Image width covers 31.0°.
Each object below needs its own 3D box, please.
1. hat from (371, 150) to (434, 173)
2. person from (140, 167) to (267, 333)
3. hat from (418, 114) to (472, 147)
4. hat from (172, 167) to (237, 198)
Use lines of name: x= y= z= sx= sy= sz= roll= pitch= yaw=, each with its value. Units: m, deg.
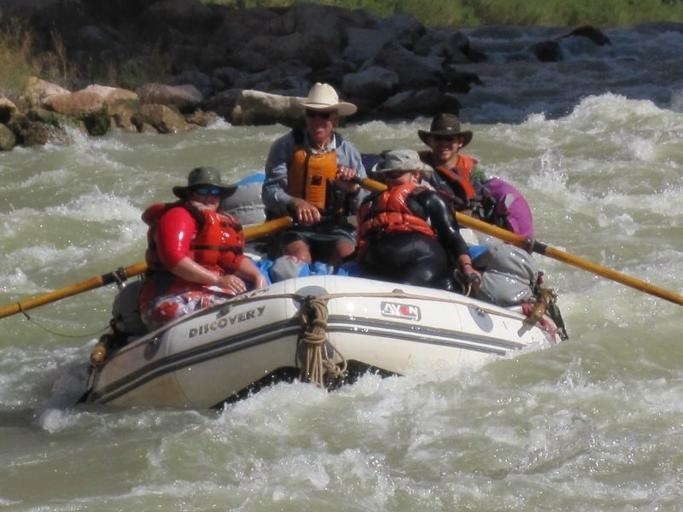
hat: x=0.735 y=-1.064 z=14.288 sx=0.460 sy=0.134 sz=0.393 roll=-1 pitch=2 yaw=-37
person: x=-1.624 y=0.256 z=14.058 sx=1.600 sy=2.309 sz=1.146 roll=2 pitch=0 yaw=18
hat: x=1.255 y=-1.558 z=15.208 sx=0.698 sy=0.261 sz=0.730 roll=-3 pitch=-6 yaw=39
hat: x=-1.503 y=-0.860 z=14.026 sx=0.702 sy=0.233 sz=0.650 roll=-8 pitch=-8 yaw=3
